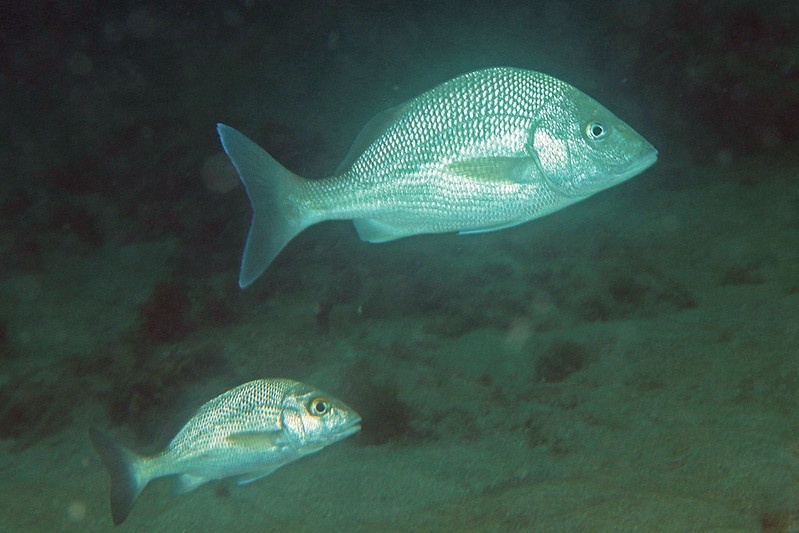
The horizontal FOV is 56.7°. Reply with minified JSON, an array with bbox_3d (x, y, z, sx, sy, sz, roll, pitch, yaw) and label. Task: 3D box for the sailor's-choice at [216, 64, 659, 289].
[{"bbox_3d":[0.182,-0.551,3.511,1.896,0.801,0.243,-19,-9,3],"label":"sailor's-choice"}]
